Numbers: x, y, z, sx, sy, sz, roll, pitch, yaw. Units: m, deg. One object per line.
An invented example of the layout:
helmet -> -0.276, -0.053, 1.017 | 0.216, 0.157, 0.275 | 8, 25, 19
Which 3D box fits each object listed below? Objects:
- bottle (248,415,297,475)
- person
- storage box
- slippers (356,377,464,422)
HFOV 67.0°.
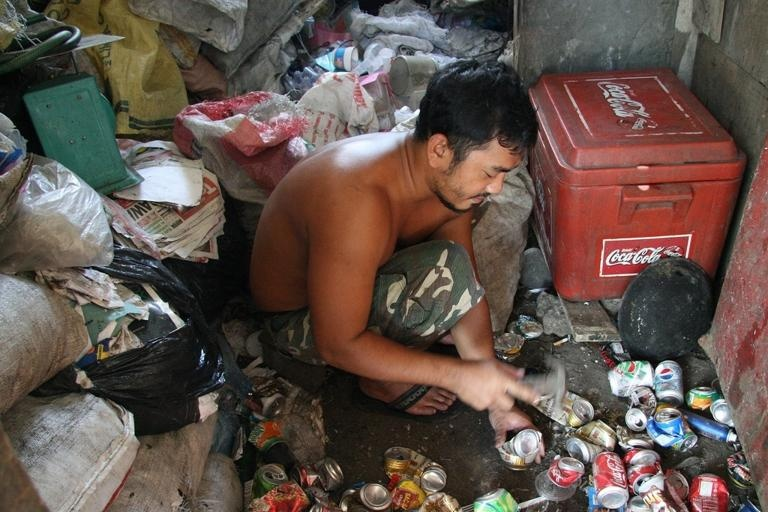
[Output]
bottle -> -0.445, 0.799, 2.423 | 0.127, 0.099, 0.235 | -44, 64, 22
person -> 0.028, 0.035, 2.426 | 1.221, 1.415, 0.785 | 1, 43, 10
storage box -> 1.039, -0.210, 3.057 | 0.975, 0.858, 1.242 | 0, 41, 1
slippers -> 0.110, 0.637, 2.666 | 0.426, 0.115, 0.182 | 10, 51, 18
